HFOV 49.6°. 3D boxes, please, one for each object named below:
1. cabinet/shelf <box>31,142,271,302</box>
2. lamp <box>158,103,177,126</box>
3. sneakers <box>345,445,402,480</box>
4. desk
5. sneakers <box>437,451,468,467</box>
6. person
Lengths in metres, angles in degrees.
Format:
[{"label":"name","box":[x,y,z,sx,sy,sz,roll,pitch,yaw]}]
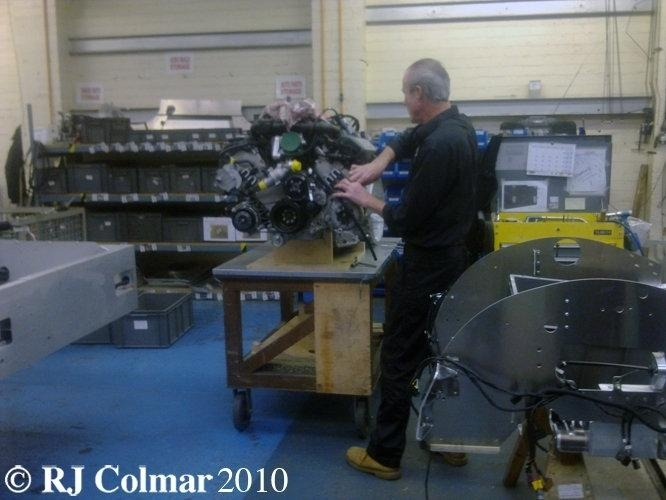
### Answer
[{"label":"cabinet/shelf","box":[-2.091,-0.567,8.400,2.905,1.937,1.621,0,3,2]},{"label":"lamp","box":[-1.956,-1.579,8.585,0.251,0.274,0.269,0,0,-33]},{"label":"sneakers","box":[0.252,1.313,4.564,0.334,0.155,0.148,16,9,36]},{"label":"desk","box":[-0.109,0.574,5.511,1.103,1.014,1.666,0,5,12]},{"label":"sneakers","box":[0.757,1.332,4.577,0.175,0.075,0.081,5,8,28]},{"label":"person","box":[0.485,0.098,4.535,0.782,2.525,0.916,1,13,12]}]
